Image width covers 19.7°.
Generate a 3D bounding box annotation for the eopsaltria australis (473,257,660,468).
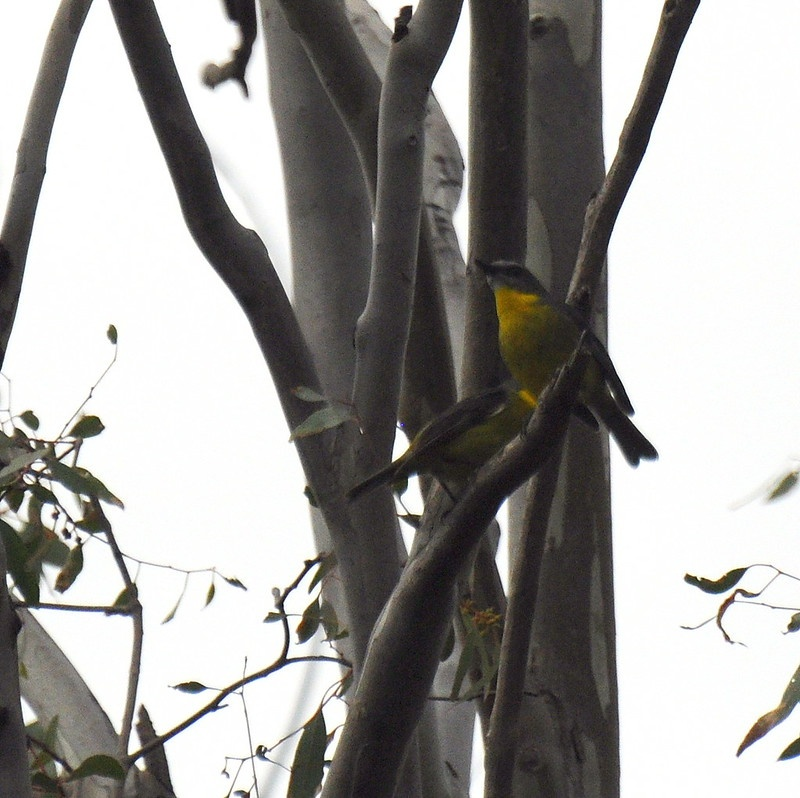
[{"bbox_3d":[0.376,-0.066,4.983,0.452,0.331,0.176,28,-48,-32],"label":"eopsaltria australis"}]
